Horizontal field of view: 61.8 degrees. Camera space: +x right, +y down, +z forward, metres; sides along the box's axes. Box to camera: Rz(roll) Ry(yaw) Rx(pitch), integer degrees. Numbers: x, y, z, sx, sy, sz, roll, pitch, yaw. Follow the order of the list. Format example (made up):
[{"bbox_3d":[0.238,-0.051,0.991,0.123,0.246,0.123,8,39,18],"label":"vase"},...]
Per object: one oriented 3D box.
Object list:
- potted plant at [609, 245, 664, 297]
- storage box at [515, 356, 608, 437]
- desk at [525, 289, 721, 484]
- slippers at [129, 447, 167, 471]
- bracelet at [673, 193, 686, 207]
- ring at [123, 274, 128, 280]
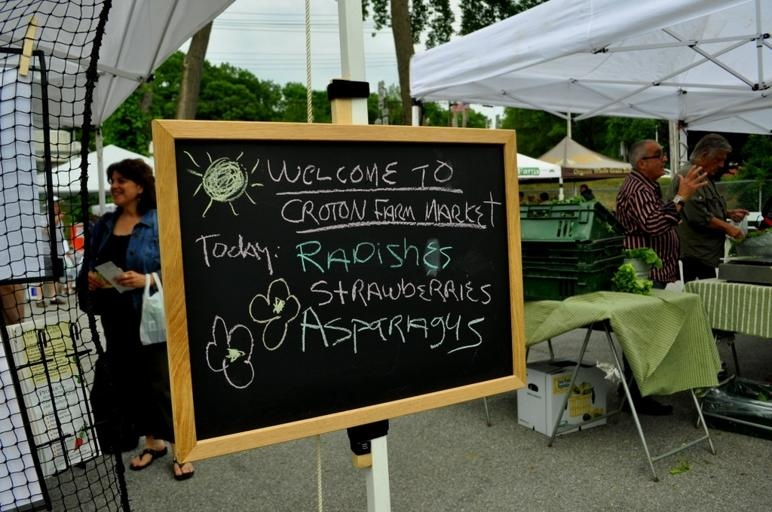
[{"bbox_3d":[2.202,0.126,5.661,0.427,0.320,0.402,-3,-1,9],"label":"potted plant"},{"bbox_3d":[1.623,1.268,5.933,0.727,0.542,0.409,-3,3,-32],"label":"storage box"},{"bbox_3d":[2.090,1.032,5.605,1.611,1.335,1.250,-1,0,-42],"label":"desk"},{"bbox_3d":[-2.021,1.718,5.510,0.122,0.088,0.260,9,13,41],"label":"slippers"},{"bbox_3d":[2.643,-0.502,5.826,0.119,0.119,0.083,7,-1,21],"label":"bracelet"},{"bbox_3d":[-1.958,0.162,4.867,0.043,0.047,0.011,-7,11,-23],"label":"ring"}]
